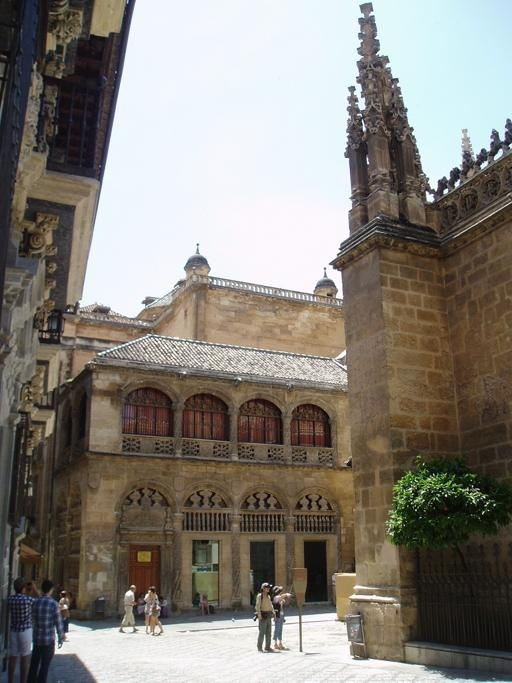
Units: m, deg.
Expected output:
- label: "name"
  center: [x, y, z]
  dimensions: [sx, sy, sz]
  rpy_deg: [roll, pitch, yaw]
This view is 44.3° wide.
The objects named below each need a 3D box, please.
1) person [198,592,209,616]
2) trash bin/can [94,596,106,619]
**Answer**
- label: "person"
  center: [-2.014, 10.385, 24.793]
  dimensions: [0.372, 0.830, 0.879]
  rpy_deg: [0, 5, -5]
- label: "trash bin/can"
  center: [-5.821, 9.927, 23.472]
  dimensions: [0.423, 0.810, 0.332]
  rpy_deg: [-1, 5, -15]
